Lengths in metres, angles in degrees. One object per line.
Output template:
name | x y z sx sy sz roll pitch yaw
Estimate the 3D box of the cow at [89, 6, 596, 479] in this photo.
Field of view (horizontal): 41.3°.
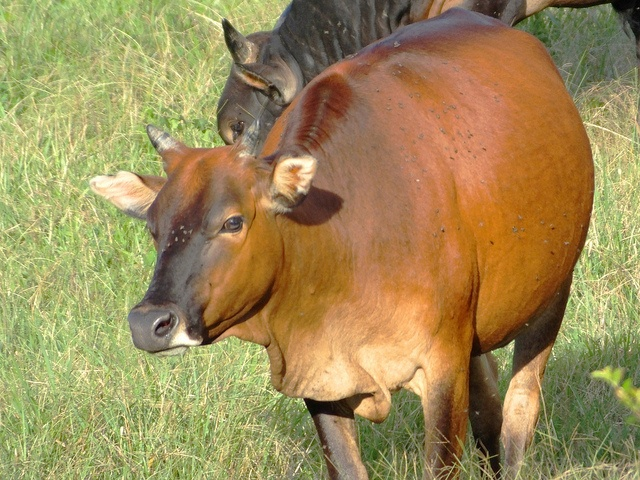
cow | 0.329 0.112 4.406 2.761 1.830 1.109 -31 30 -33
